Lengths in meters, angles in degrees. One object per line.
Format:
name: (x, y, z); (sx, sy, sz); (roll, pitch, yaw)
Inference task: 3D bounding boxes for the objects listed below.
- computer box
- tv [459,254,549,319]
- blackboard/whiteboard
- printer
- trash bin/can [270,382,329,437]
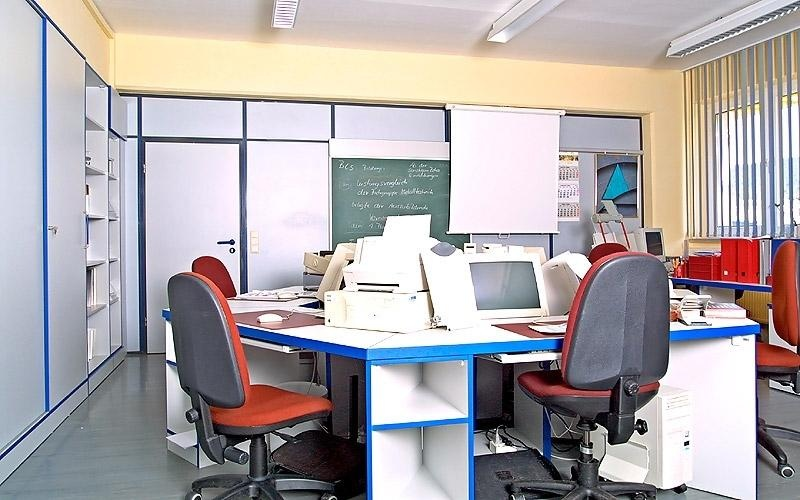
computer box: (1.777, 1.331, 4.202); (0.543, 0.726, 0.830); (3, -4, -37)
tv: (0.875, 0.255, 4.339); (0.670, 0.484, 0.356); (-3, 8, 39)
blackboard/whiteboard: (-0.055, -0.567, 6.485); (1.350, 0.892, 0.094); (0, -3, -10)
printer: (0.097, 0.050, 4.130); (0.838, 0.360, 0.879); (-2, 9, 25)
trash bin/can: (-0.740, 1.241, 4.531); (0.479, 0.318, 0.430); (2, 4, 24)
